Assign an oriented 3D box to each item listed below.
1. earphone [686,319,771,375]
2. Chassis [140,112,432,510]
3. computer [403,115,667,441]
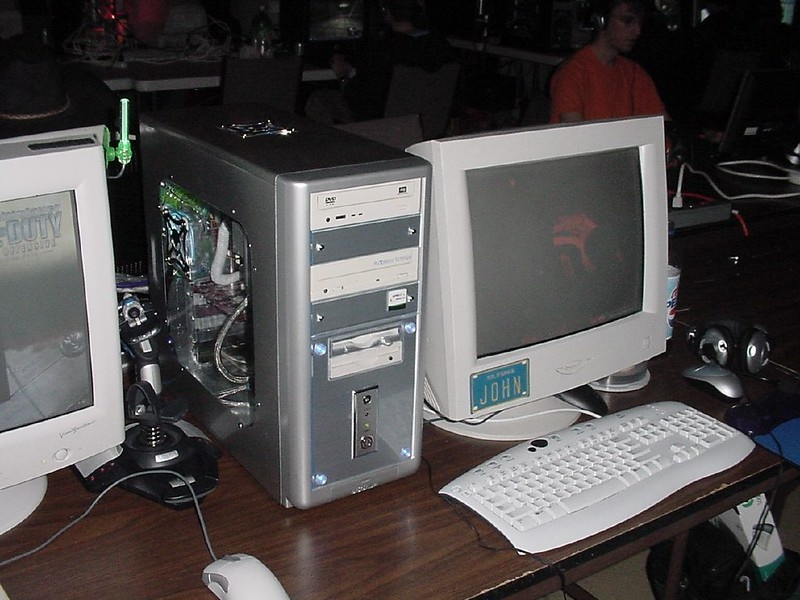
[{"bbox_3d":[0.716,0.092,1.460,0.122,0.058,0.132,-2,7,-22],"label":"earphone"},{"bbox_3d":[-0.238,-0.017,1.240,0.274,0.540,0.578,-14,26,-38],"label":"Chassis"},{"bbox_3d":[0.225,-0.069,1.383,0.557,0.551,0.369,-12,18,-27],"label":"computer"}]
